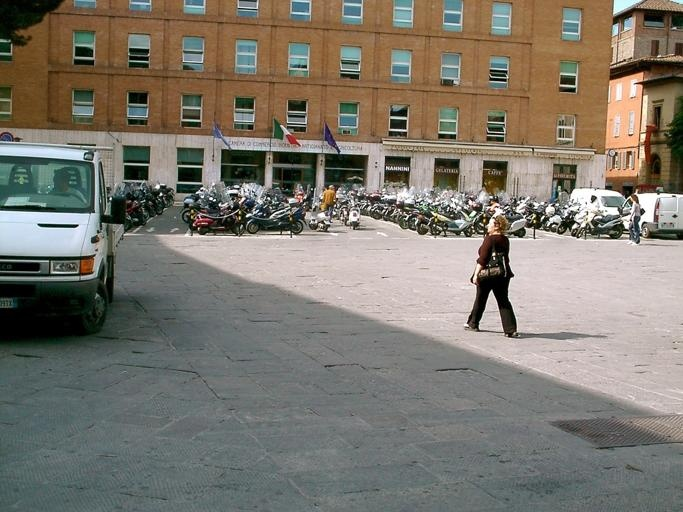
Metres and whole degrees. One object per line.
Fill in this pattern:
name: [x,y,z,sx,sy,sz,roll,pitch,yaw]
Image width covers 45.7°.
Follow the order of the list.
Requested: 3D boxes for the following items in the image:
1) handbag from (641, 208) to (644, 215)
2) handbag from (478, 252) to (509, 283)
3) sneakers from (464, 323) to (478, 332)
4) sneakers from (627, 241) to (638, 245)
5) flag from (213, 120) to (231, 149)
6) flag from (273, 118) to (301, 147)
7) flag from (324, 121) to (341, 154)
handbag: [11.862,-1.728,31.996,0.141,0.298,0.284,5,7,16]
handbag: [2.180,0.176,11.661,0.481,0.413,0.208,1,4,31]
sneakers: [1.865,1.044,11.799,0.217,0.082,0.081,14,17,37]
sneakers: [10.394,-0.445,29.162,0.186,0.185,0.510,-3,8,-22]
flag: [-7.009,-6.981,47.094,1.000,1.476,1.481,2,7,-1]
flag: [-3.339,-7.281,47.773,2.061,1.938,0.213,6,-38,-26]
flag: [-0.686,-7.021,48.121,1.055,1.837,1.472,4,7,13]
